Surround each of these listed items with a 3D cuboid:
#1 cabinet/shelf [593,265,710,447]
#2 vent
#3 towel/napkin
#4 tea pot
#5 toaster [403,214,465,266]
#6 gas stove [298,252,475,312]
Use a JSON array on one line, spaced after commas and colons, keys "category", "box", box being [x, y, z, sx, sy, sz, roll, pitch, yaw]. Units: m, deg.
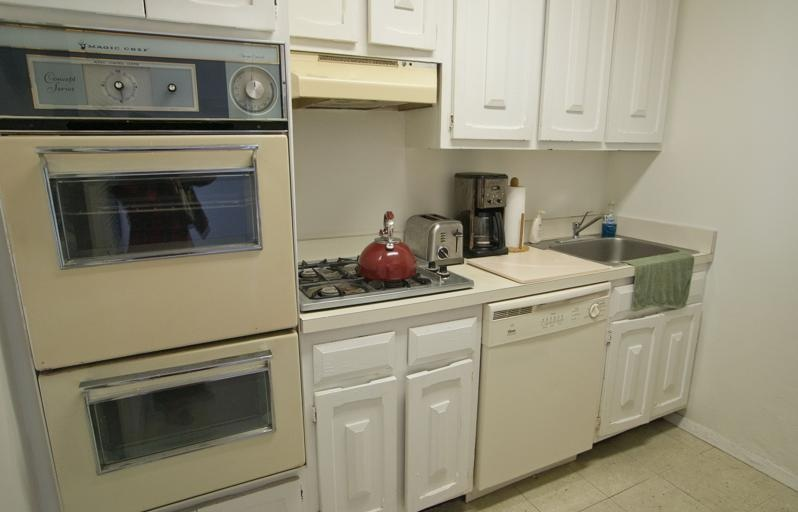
[{"category": "cabinet/shelf", "box": [1.278, 0.583, 3.461, 0.852, 1.007, 0.693, -7, 16, -27]}, {"category": "vent", "box": [-0.186, -0.795, 2.576, 0.628, 0.254, 0.496, -2, 17, -23]}, {"category": "towel/napkin", "box": [1.479, 0.161, 3.067, 0.524, 0.322, 0.133, -12, 16, -30]}, {"category": "tea pot", "box": [-0.062, -0.069, 2.634, 0.213, 0.309, 0.324, -7, 13, -36]}, {"category": "toaster", "box": [0.191, -0.092, 2.962, 0.234, 0.229, 0.325, -7, 20, -30]}, {"category": "gas stove", "box": [-0.223, 0.138, 2.606, 0.431, 0.059, 0.374, -5, 14, -21]}]
